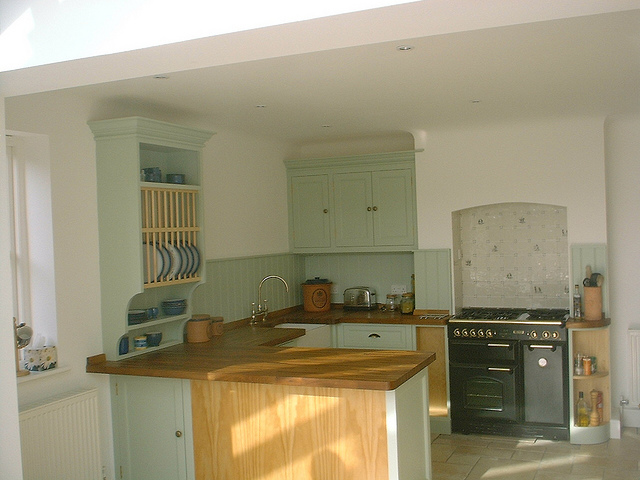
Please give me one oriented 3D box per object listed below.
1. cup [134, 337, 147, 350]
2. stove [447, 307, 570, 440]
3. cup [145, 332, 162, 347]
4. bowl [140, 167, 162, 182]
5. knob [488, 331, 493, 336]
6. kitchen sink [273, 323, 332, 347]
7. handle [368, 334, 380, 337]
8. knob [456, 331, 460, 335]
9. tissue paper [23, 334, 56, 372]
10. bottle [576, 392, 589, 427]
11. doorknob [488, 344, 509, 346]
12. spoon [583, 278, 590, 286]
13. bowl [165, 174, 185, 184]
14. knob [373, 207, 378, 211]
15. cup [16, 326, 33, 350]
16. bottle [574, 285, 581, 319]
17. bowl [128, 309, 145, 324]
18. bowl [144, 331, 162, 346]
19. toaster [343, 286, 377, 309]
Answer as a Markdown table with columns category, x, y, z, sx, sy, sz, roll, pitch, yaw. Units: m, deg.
| category | x | y | z | sx | sy | sz | roll | pitch | yaw |
| --- | --- | --- | --- | --- | --- | --- | --- | --- | --- |
| cup | -1.341 | 0.773 | 4.011 | 0.096 | 0.087 | 0.095 | 2 | 6 | 0 |
| stove | 1.786 | 1.319 | 5.201 | 1.127 | 1.072 | 0.685 | -1 | -8 | 12 |
| cup | -1.281 | 0.763 | 4.096 | 0.124 | 0.106 | 0.108 | -3 | 2 | -38 |
| bowl | -1.260 | -0.494 | 3.984 | 0.114 | 0.128 | 0.241 | -2 | 1 | 2 |
| knob | 1.592 | 0.866 | 4.946 | 0.040 | 0.047 | 0.013 | 2 | -3 | 14 |
| kitchen sink | -0.134 | 0.920 | 5.182 | 0.359 | 0.197 | 0.340 | 0 | -1 | 21 |
| handle | 0.552 | 0.970 | 5.408 | 0.111 | 0.029 | 0.008 | -1 | 2 | 18 |
| knob | 1.319 | 0.880 | 5.062 | 0.044 | 0.038 | 0.024 | 1 | 7 | 19 |
| tissue paper | -1.829 | 0.732 | 3.446 | 0.125 | 0.192 | 0.158 | -2 | -9 | -1 |
| bottle | 2.386 | 1.539 | 4.821 | 0.123 | 0.293 | 0.080 | -4 | 2 | -44 |
| doorknob | 1.664 | 0.967 | 4.912 | 0.200 | 0.022 | 0.023 | 1 | -11 | 13 |
| spoon | 2.479 | 0.375 | 4.922 | 0.049 | 0.051 | 0.064 | -1 | 1 | 20 |
| bowl | -1.130 | -0.483 | 4.144 | 0.133 | 0.081 | 0.087 | -2 | 1 | -20 |
| knob | 0.596 | -0.346 | 5.691 | 0.055 | 0.043 | 0.013 | -1 | -1 | 6 |
| cup | -1.873 | 0.606 | 3.339 | 0.135 | 0.118 | 0.100 | 1 | 2 | 42 |
| bottle | 2.418 | 0.567 | 4.963 | 0.056 | 0.294 | 0.106 | -1 | 2 | 25 |
| bowl | -1.358 | 0.560 | 3.894 | 0.099 | 0.055 | 0.093 | 1 | -5 | 0 |
| bowl | -1.276 | 0.752 | 4.061 | 0.105 | 0.073 | 0.104 | -2 | -4 | 0 |
| toaster | 0.430 | 0.633 | 5.937 | 0.369 | 0.223 | 0.247 | -1 | -3 | 23 |
